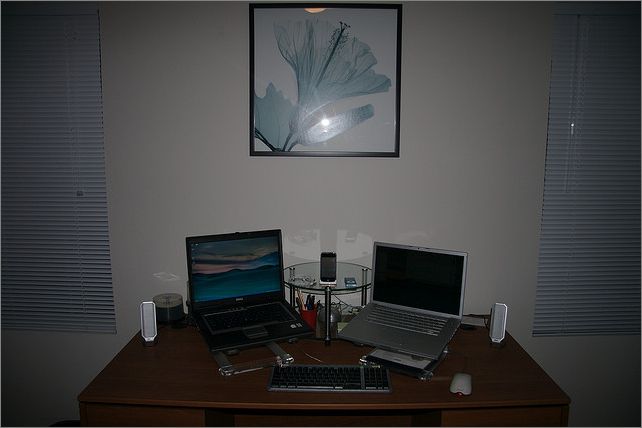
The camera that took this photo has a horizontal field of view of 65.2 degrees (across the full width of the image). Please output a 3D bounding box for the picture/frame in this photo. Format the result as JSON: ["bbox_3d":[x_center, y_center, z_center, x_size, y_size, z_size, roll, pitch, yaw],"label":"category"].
[{"bbox_3d":[0.023,-0.983,3.500,1.171,0.994,0.045,1,12,0],"label":"picture/frame"}]

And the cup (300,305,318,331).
[{"bbox_3d":[-0.075,0.693,3.295,0.111,0.120,0.131,0,4,-3],"label":"cup"}]

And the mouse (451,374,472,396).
[{"bbox_3d":[0.822,0.993,2.929,0.126,0.105,0.088,2,9,15],"label":"mouse"}]

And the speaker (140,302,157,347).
[{"bbox_3d":[-1.106,0.698,3.216,0.102,0.271,0.072,-3,-9,-14],"label":"speaker"}]

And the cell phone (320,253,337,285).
[{"bbox_3d":[0.049,0.361,3.371,0.112,0.196,0.140,-1,9,0],"label":"cell phone"}]

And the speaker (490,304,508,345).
[{"bbox_3d":[1.140,0.715,3.245,0.118,0.256,0.088,10,-8,-5],"label":"speaker"}]
